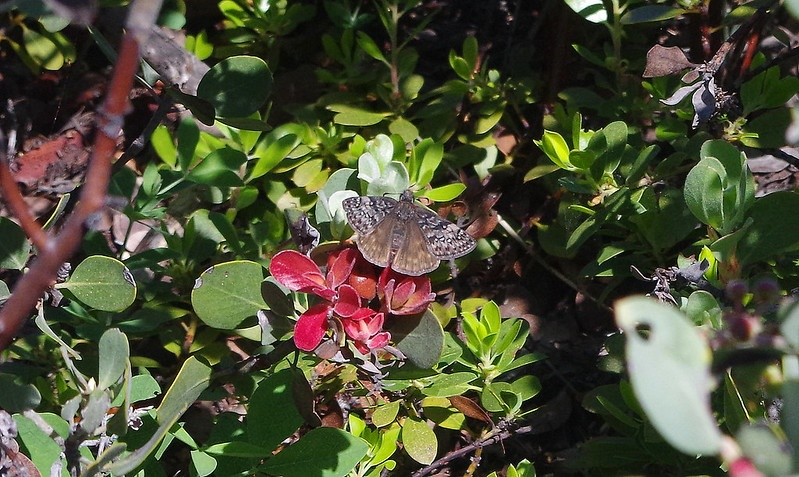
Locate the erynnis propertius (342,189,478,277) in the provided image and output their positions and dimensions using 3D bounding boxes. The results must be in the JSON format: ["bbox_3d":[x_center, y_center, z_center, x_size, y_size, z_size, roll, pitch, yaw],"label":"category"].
[{"bbox_3d":[0.019,-0.024,2.240,0.349,0.260,0.304,-39,65,-18],"label":"erynnis propertius"}]

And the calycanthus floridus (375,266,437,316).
[{"bbox_3d":[0.009,0.163,2.146,0.142,0.154,0.144,-9,26,-29],"label":"calycanthus floridus"}]
